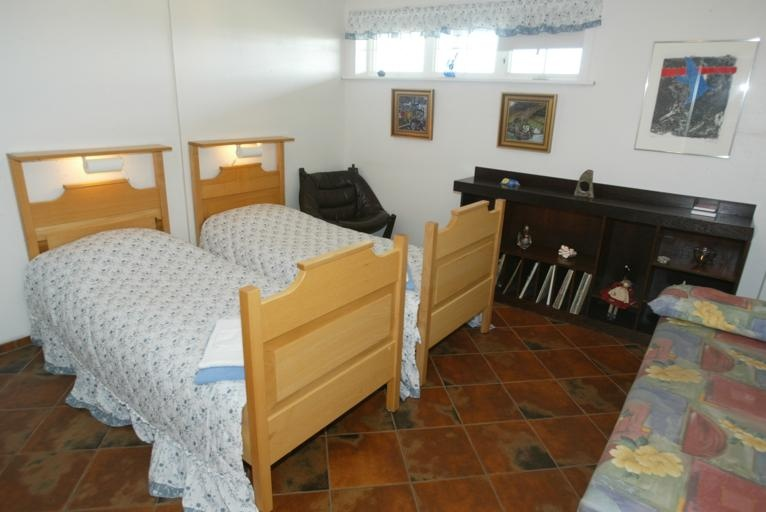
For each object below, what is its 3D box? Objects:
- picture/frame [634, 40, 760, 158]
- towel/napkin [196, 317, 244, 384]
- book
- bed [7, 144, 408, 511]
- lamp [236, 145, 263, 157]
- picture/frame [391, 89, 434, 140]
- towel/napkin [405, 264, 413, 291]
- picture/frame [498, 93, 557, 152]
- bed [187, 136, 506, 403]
[{"bbox_3d":[2.858,-1.436,4.466,0.989,1.148,0.077,15,26,27],"label":"picture/frame"},{"bbox_3d":[-1.085,0.665,3.411,0.334,0.115,0.419,1,27,-14],"label":"towel/napkin"},{"bbox_3d":[1.710,0.306,5.176,0.621,0.350,0.218,16,10,30],"label":"book"},{"bbox_3d":[-1.411,0.214,4.388,3.321,2.013,2.417,25,35,39],"label":"bed"},{"bbox_3d":[-1.419,-1.104,5.267,0.221,0.150,0.094,-1,10,-26],"label":"lamp"},{"bbox_3d":[0.373,-1.708,5.924,0.589,0.569,0.041,11,21,35],"label":"picture/frame"},{"bbox_3d":[0.232,0.200,4.198,0.041,0.153,0.165,2,7,10],"label":"towel/napkin"},{"bbox_3d":[1.548,-1.422,5.250,0.616,0.595,0.042,13,20,33],"label":"picture/frame"},{"bbox_3d":[-0.477,-0.473,5.211,3.461,2.047,1.859,23,34,37],"label":"bed"}]
